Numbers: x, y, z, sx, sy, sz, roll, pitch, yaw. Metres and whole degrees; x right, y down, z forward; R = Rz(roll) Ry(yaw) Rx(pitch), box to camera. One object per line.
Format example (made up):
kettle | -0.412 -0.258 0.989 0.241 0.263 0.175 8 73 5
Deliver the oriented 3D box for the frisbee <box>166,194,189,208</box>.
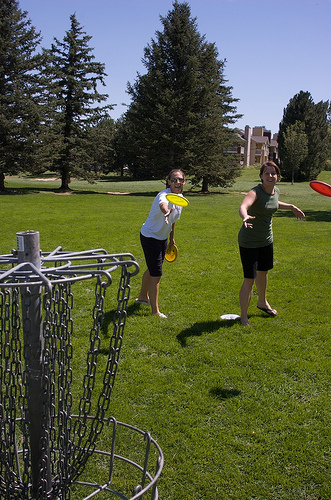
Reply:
frisbee | 0.155 -0.589 4.826 0.171 0.035 0.177 31 -18 -22

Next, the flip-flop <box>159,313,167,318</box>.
flip-flop | -0.041 0.845 5.583 0.043 0.050 0.123 4 -4 -23

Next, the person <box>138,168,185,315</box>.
person | -0.092 -0.077 5.340 0.496 1.889 1.329 4 5 0

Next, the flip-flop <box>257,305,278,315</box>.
flip-flop | 1.359 0.805 5.674 0.204 0.055 0.085 25 1 -9
